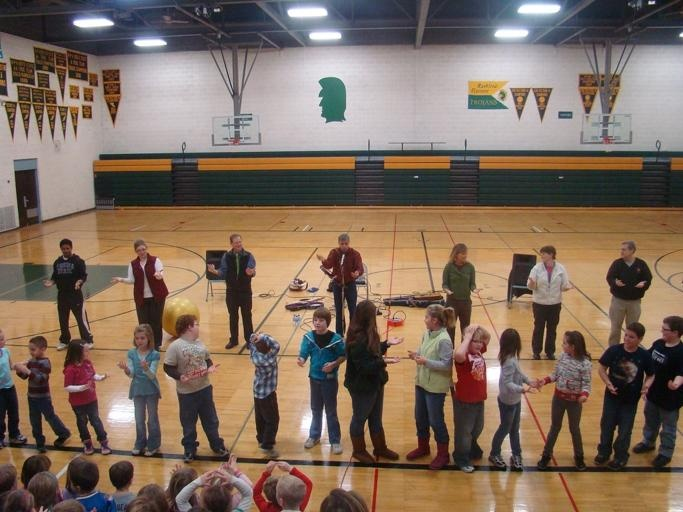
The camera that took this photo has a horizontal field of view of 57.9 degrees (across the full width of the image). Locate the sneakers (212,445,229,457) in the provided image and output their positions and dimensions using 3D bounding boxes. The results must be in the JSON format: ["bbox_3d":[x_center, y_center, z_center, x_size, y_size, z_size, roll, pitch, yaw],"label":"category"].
[{"bbox_3d":[-1.654,2.690,8.532,0.284,0.121,0.096,0,8,-13],"label":"sneakers"}]

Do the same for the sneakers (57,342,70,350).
[{"bbox_3d":[-5.159,1.664,11.415,0.144,0.157,0.390,0,-2,-12],"label":"sneakers"}]

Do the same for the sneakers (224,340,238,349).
[{"bbox_3d":[-2.044,1.638,11.389,0.249,0.175,0.105,1,15,-9],"label":"sneakers"}]

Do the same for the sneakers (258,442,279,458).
[{"bbox_3d":[-1.006,2.667,8.540,0.345,0.158,0.132,10,21,-13],"label":"sneakers"}]

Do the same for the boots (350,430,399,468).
[{"bbox_3d":[0.418,2.626,8.357,0.605,0.403,0.439,-1,-2,-34],"label":"boots"}]

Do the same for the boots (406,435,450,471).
[{"bbox_3d":[1.216,2.676,8.341,0.482,0.316,0.375,0,-1,44],"label":"boots"}]

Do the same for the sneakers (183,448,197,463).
[{"bbox_3d":[-2.077,2.716,8.402,0.099,0.126,0.275,2,-4,-2],"label":"sneakers"}]

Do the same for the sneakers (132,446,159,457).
[{"bbox_3d":[-2.746,2.730,8.680,0.378,0.164,0.136,7,0,-5],"label":"sneakers"}]

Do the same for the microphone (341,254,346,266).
[{"bbox_3d":[0.033,0.060,11.345,0.084,0.176,0.066,-2,7,-9],"label":"microphone"}]

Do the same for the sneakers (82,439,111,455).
[{"bbox_3d":[-3.454,2.654,8.683,0.435,0.204,0.211,0,7,4],"label":"sneakers"}]
